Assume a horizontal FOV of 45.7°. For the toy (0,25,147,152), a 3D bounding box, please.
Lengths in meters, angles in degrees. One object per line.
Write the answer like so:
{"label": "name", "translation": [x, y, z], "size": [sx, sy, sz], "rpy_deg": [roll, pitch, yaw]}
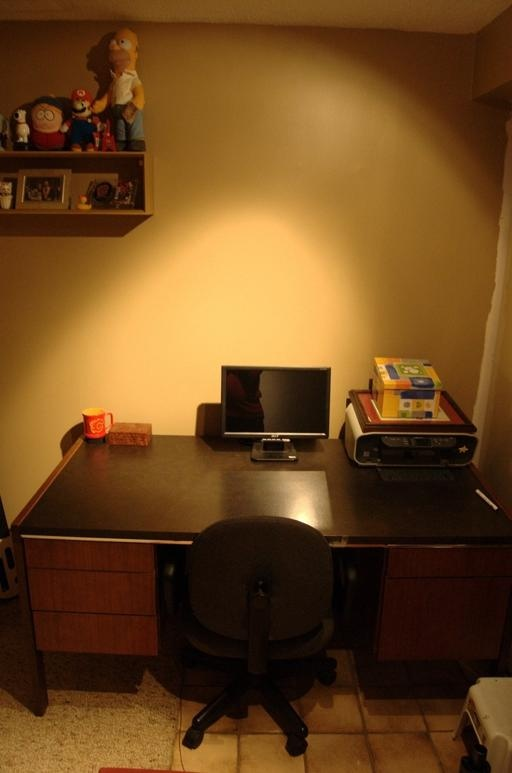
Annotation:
{"label": "toy", "translation": [-0.610, -1.049, 2.176], "size": [0.417, 0.414, 0.271], "rpy_deg": [-3, 16, -17]}

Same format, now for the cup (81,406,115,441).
{"label": "cup", "translation": [-0.644, 0.156, 2.529], "size": [0.150, 0.156, 0.101], "rpy_deg": [-2, 13, -29]}

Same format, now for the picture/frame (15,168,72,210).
{"label": "picture/frame", "translation": [-0.787, -0.726, 2.251], "size": [0.167, 0.175, 0.015], "rpy_deg": [1, -10, -2]}

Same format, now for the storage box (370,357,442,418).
{"label": "storage box", "translation": [0.568, 0.010, 2.293], "size": [0.232, 0.180, 0.216], "rpy_deg": [2, 16, 3]}

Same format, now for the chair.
{"label": "chair", "translation": [-0.016, 0.751, 1.824], "size": [0.503, 0.813, 0.588], "rpy_deg": [0, 38, -2]}

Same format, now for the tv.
{"label": "tv", "translation": [0.074, 0.101, 2.382], "size": [0.318, 0.298, 0.140], "rpy_deg": [0, 11, 0]}
